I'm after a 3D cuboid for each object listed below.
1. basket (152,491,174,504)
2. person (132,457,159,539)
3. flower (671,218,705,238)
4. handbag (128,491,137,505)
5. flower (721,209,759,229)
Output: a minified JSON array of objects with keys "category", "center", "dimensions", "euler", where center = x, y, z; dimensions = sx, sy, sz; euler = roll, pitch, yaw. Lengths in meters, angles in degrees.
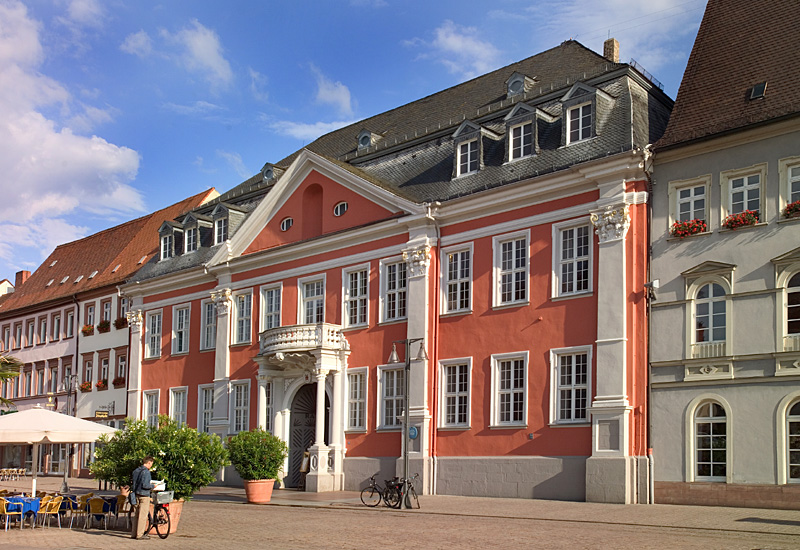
[{"category":"basket","center":[-7.100,6.636,31.345],"dimensions":[0.469,0.277,0.457],"euler":[0,-6,-11]},{"category":"person","center":[-7.725,6.642,31.330],"dimensions":[0.626,2.388,0.770],"euler":[3,-17,-13]},{"category":"flower","center":[10.244,-1.627,37.536],"dimensions":[0.738,0.447,0.746],"euler":[-8,4,-27]},{"category":"handbag","center":[-8.029,6.689,31.440],"dimensions":[0.107,0.399,0.412],"euler":[10,-7,-39]},{"category":"flower","center":[11.914,-1.901,36.627],"dimensions":[0.846,0.355,0.649],"euler":[-16,-5,-3]}]
